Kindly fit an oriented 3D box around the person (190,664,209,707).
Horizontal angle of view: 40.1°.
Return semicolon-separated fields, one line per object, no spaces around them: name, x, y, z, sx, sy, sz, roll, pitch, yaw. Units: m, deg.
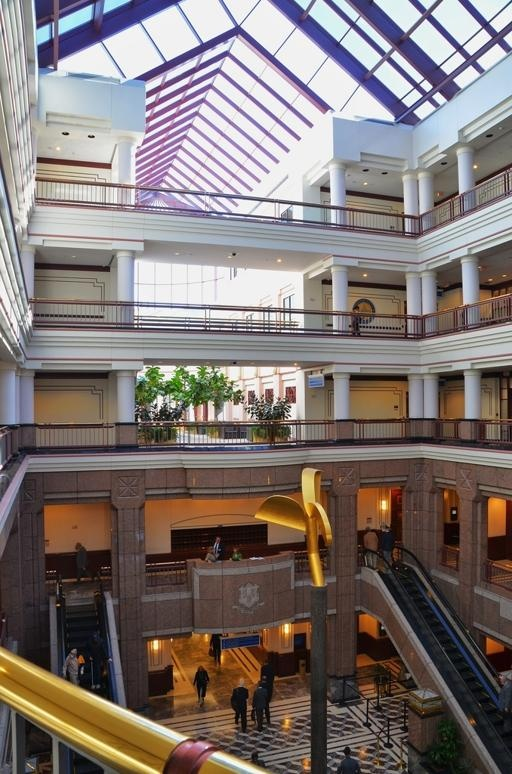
person;-1.343;7.301;17.397;0.325;0.905;1.032;2;-4;-4

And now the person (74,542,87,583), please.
person;-4.685;4.746;18.870;0.320;0.959;0.994;3;-4;-14

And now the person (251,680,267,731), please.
person;0.067;7.239;15.919;0.292;0.910;0.822;2;-4;1

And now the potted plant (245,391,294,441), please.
potted plant;0.487;0.810;19.199;1.233;1.491;1.035;1;-4;-15

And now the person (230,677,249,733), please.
person;-0.366;6.987;15.524;0.366;1.307;1.108;2;-4;0

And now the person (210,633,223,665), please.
person;-1.146;7.480;20.082;0.319;0.866;0.874;2;-4;-4

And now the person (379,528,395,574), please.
person;3.636;4.541;19.511;0.337;0.912;1.096;1;-4;12

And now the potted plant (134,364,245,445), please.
potted plant;-2.825;0.795;22.923;2.625;1.948;2.566;-6;6;-43
